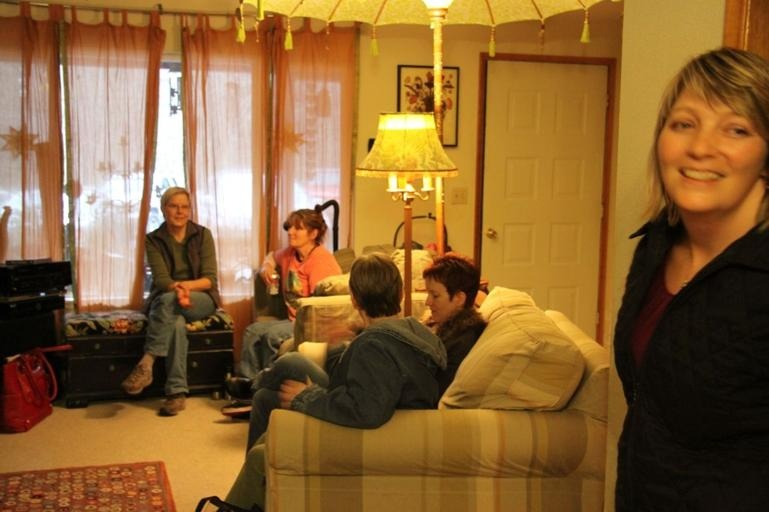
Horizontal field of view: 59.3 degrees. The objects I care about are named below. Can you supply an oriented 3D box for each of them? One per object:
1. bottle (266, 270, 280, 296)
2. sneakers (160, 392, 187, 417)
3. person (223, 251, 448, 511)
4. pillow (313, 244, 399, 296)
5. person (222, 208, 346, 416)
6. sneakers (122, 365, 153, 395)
[{"bbox_3d":[-0.755,0.170,4.522,0.148,0.197,0.139,0,-3,0],"label":"bottle"},{"bbox_3d":[-1.331,0.945,4.265,0.083,0.089,0.196,-1,-10,4],"label":"sneakers"},{"bbox_3d":[-0.206,0.560,2.773,0.779,1.099,0.635,11,0,13],"label":"person"},{"bbox_3d":[-0.183,0.125,3.894,0.413,0.146,0.246,-24,5,-11],"label":"pillow"},{"bbox_3d":[-0.626,0.349,4.278,0.780,1.248,0.526,-1,6,-35],"label":"person"},{"bbox_3d":[-1.551,0.770,4.261,0.191,0.162,0.108,-3,8,-31],"label":"sneakers"}]
